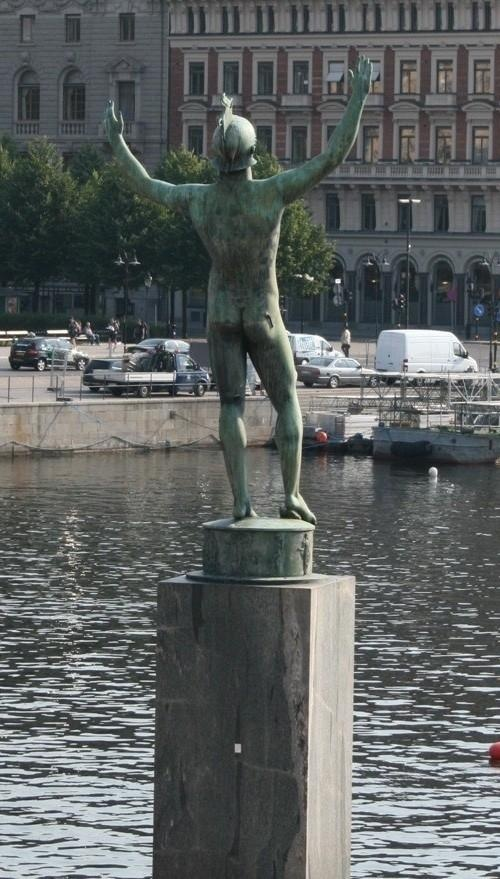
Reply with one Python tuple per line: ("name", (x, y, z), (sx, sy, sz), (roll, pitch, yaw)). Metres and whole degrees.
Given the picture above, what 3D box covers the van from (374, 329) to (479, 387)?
("van", (4.293, -2.148, 70.171), (2.708, 2.094, 1.532), (-5, 6, -36))
